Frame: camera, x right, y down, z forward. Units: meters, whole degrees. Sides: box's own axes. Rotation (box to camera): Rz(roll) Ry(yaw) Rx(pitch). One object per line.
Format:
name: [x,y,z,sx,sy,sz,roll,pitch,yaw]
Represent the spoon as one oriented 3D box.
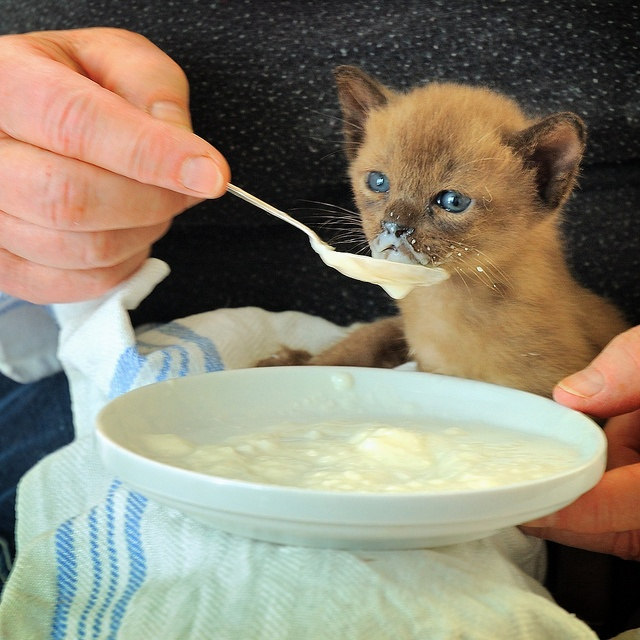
spoon: [-0.025,-0.125,0.907,0.347,0.046,0.100,19,1,26]
